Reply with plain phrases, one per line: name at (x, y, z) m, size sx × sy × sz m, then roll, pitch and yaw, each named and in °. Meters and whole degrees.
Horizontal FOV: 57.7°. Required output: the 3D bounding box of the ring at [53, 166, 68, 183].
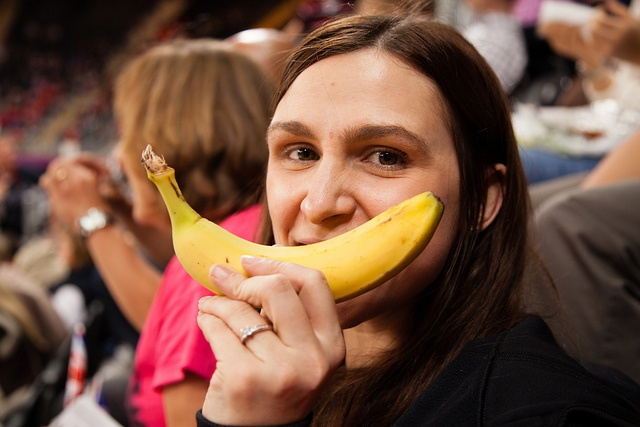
ring at (-1.870, -0.293, 4.166) m, size 0.082 × 0.089 × 0.028 m, roll 6°, pitch 0°, yaw 10°
